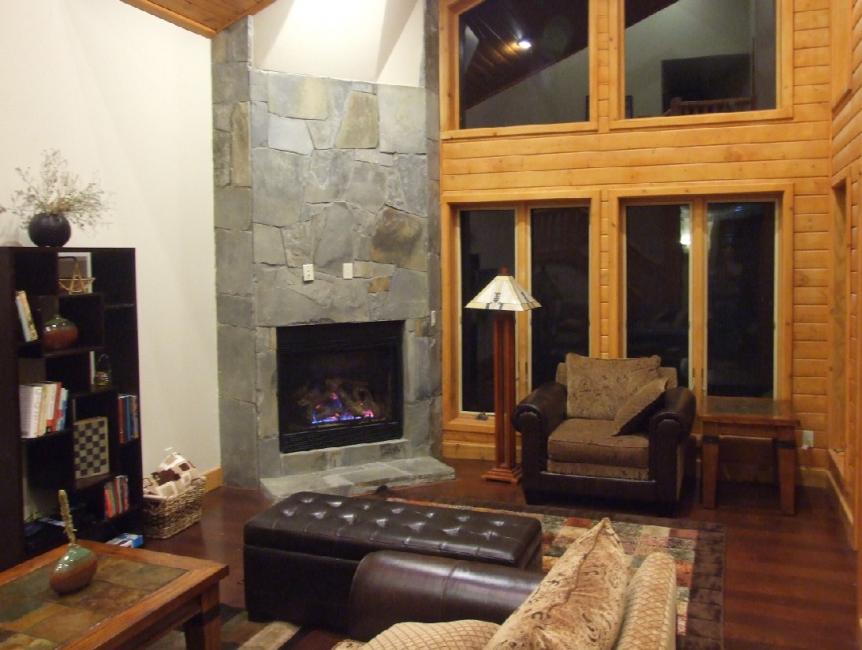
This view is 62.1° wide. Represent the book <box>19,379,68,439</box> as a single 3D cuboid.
[{"bbox_3d":[-2.357,0.507,4.377,0.136,0.308,0.301,8,14,39],"label":"book"}]

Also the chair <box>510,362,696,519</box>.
[{"bbox_3d":[1.302,0.872,5.454,1.455,1.168,1.057,-1,-3,26],"label":"chair"}]

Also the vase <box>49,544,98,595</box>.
[{"bbox_3d":[-1.668,1.133,3.391,0.202,0.289,0.203,2,-11,-19],"label":"vase"}]

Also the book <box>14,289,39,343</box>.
[{"bbox_3d":[-2.405,-0.051,4.262,0.077,0.302,0.115,5,12,30],"label":"book"}]

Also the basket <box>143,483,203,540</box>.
[{"bbox_3d":[-1.834,1.322,5.065,0.247,0.226,0.354,-3,-5,7],"label":"basket"}]

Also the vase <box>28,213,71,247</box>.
[{"bbox_3d":[-2.341,-0.594,4.442,0.216,0.239,0.213,4,14,-10],"label":"vase"}]

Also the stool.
[{"bbox_3d":[2.421,0.944,5.512,0.748,0.807,0.822,0,0,15],"label":"stool"}]
